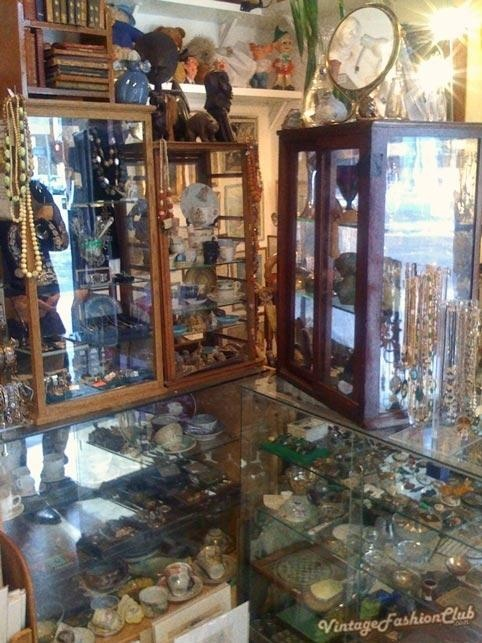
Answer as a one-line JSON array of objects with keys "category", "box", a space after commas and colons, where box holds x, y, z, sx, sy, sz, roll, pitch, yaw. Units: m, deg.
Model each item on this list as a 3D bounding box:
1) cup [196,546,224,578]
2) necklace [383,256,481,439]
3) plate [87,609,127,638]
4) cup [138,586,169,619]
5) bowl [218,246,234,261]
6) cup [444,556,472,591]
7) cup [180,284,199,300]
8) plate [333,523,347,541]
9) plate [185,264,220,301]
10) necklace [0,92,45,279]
[{"category": "cup", "box": [-0.106, 0.855, 1.887, 0.056, 0.035, 0.088, -5, 15, -26]}, {"category": "necklace", "box": [0.442, 0.063, 1.207, 0.194, 0.380, 0.056, 1, 10, 20]}, {"category": "plate", "box": [-0.388, 0.866, 1.532, 0.087, 0.049, 0.085, 2, 10, 26]}, {"category": "cup", "box": [-0.262, 0.865, 1.631, 0.063, 0.036, 0.062, -1, 5, 0]}, {"category": "bowl", "box": [-0.066, -0.305, 2.393, 0.063, 0.067, 0.061, -1, 13, 0]}, {"category": "cup", "box": [0.444, 0.516, 1.092, 0.036, 0.057, 0.029, -25, -37, 32]}, {"category": "cup", "box": [-0.220, -0.126, 2.284, 0.063, 0.068, 0.063, 1, 10, 0]}, {"category": "plate", "box": [0.259, 0.547, 1.388, 0.009, 0.043, 0.044, 5, -8, -35]}, {"category": "plate", "box": [-0.148, -0.177, 2.322, 0.135, 0.129, 0.023, -15, 16, -36]}, {"category": "necklace", "box": [-0.653, -0.398, 1.581, 0.080, 0.551, 0.167, -6, 10, -20]}]
